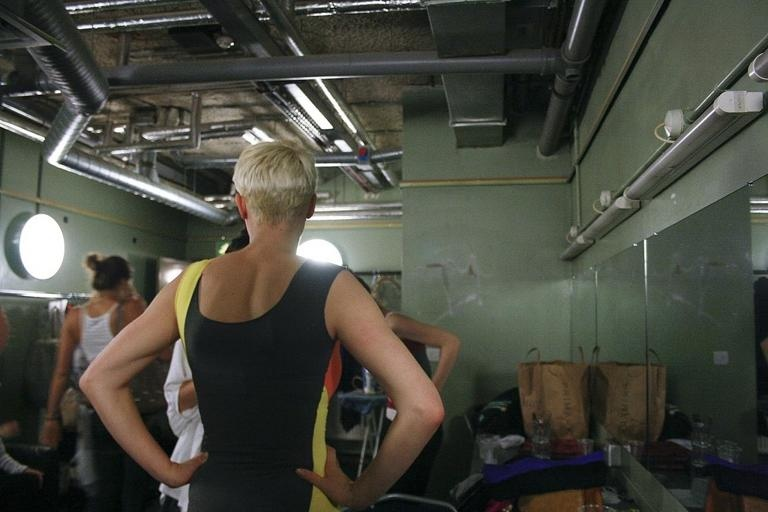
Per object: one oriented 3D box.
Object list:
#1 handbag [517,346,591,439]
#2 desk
[{"bbox_3d":[1.276,1.039,4.566,0.616,0.818,0.339,-2,-5,35],"label":"handbag"},{"bbox_3d":[-0.351,1.961,6.702,0.646,0.851,0.568,16,-11,-38],"label":"desk"}]
